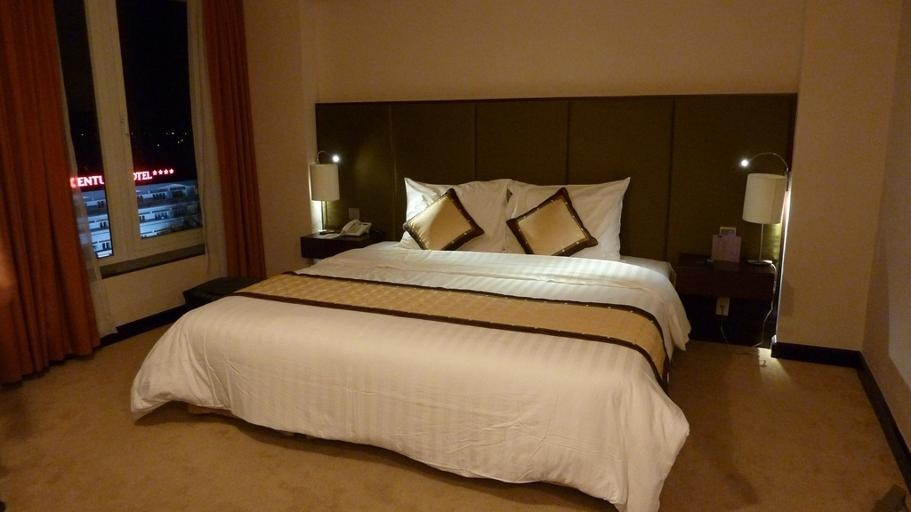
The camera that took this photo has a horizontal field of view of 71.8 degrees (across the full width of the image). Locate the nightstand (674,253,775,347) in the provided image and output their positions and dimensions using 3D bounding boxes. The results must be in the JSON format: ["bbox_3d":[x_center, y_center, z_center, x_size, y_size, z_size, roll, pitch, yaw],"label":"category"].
[{"bbox_3d":[2.608,0.399,6.073,0.833,0.762,0.475,2,12,21],"label":"nightstand"}]

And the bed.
[{"bbox_3d":[-0.281,0.823,5.570,4.406,1.424,2.089,6,15,16],"label":"bed"}]

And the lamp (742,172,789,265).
[{"bbox_3d":[2.884,-0.360,5.973,0.348,0.820,0.355,6,16,15],"label":"lamp"}]

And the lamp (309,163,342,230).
[{"bbox_3d":[-1.469,-0.663,7.148,0.311,0.769,0.288,2,16,-1],"label":"lamp"}]
